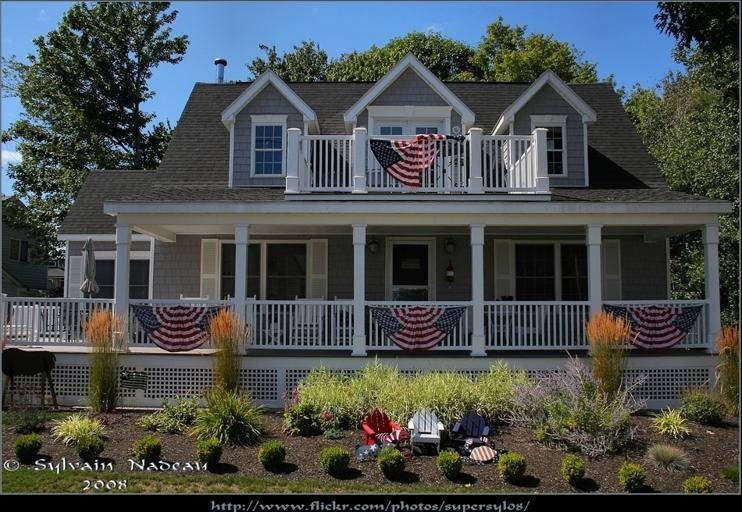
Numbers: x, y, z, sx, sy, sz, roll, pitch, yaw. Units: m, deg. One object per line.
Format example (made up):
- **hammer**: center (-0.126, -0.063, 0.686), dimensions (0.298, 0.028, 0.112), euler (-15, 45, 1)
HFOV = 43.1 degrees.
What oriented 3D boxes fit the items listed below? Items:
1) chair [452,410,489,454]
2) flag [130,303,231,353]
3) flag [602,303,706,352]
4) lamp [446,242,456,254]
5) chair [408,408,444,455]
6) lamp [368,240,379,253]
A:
- **chair**: center (2.663, 4.593, 24.527), dimensions (0.910, 0.822, 0.892), euler (3, -26, -1)
- **flag**: center (-5.327, 1.997, 26.624), dimensions (2.570, 1.319, 0.188), euler (0, -4, 1)
- **flag**: center (8.043, 1.985, 26.727), dimensions (3.033, 1.281, 0.218), euler (1, 0, -15)
- **lamp**: center (2.595, -0.271, 30.059), dimensions (0.287, 0.374, 0.294), euler (-1, 0, 3)
- **chair**: center (1.411, 4.436, 23.934), dimensions (1.106, 0.929, 1.106), euler (0, 4, -33)
- **lamp**: center (0.134, -0.322, 30.094), dimensions (0.350, 0.454, 0.347), euler (-1, -1, -11)
